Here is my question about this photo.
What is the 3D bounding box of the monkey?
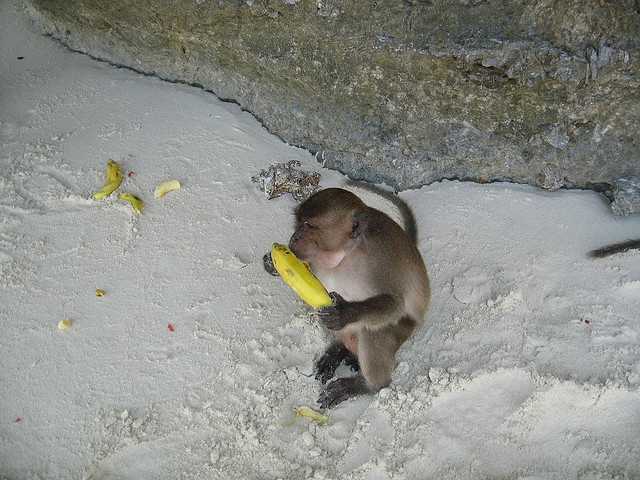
[{"bbox_3d":[0.248,0.372,6.777,1.273,1.758,0.971,-10,23,-17],"label":"monkey"}]

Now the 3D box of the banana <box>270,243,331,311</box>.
[{"bbox_3d":[-0.151,0.292,6.442,0.231,0.228,0.760,-42,78,12],"label":"banana"}]
